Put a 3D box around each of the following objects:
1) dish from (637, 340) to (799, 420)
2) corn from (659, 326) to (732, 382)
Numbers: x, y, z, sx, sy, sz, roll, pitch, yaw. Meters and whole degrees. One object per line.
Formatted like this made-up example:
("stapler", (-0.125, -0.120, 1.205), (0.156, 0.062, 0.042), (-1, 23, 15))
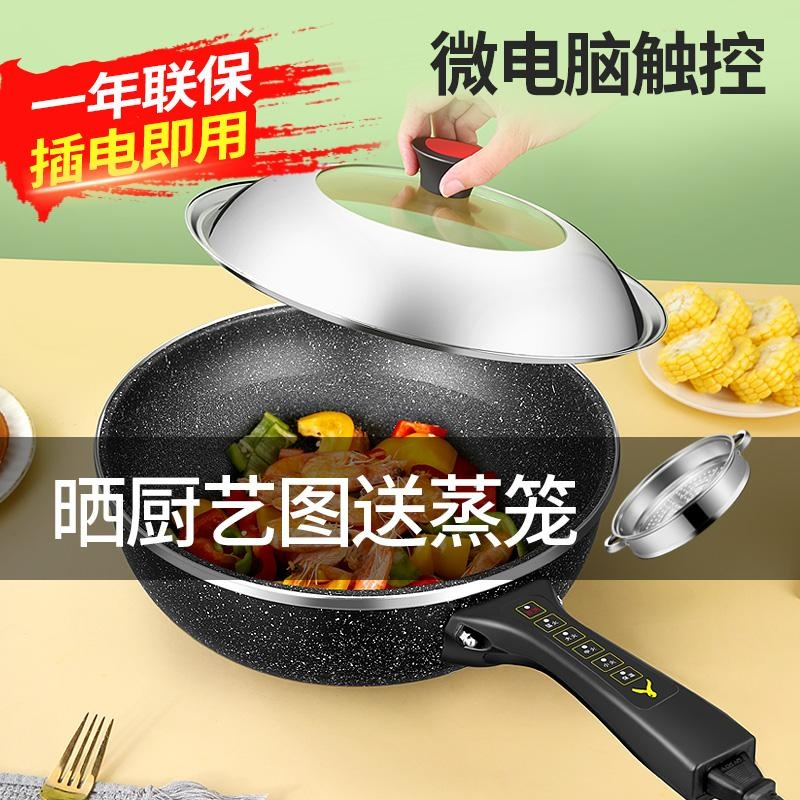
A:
("dish", (0.480, -0.049, 1.165), (0.150, 0.021, 0.141), (-13, 28, -36))
("corn", (0.441, -0.071, 1.151), (0.117, 0.037, 0.083), (-27, 25, -11))
